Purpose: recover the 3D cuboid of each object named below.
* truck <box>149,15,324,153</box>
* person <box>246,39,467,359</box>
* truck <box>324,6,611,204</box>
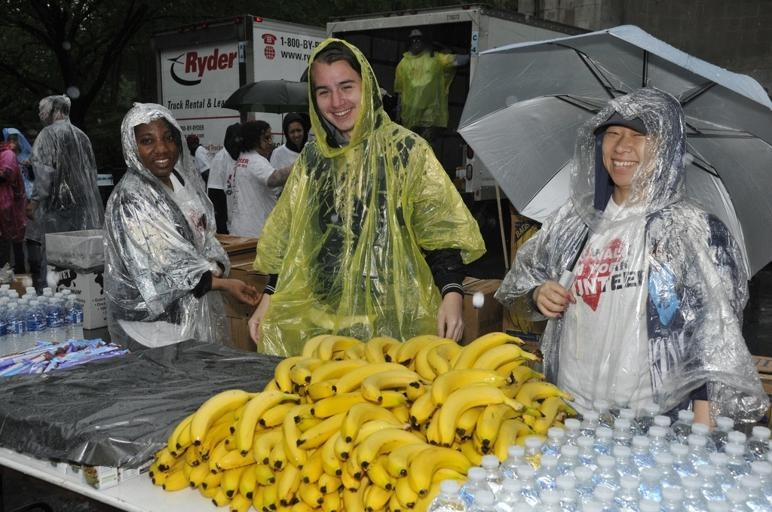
[{"bbox_3d":[-2.039,-3.052,10.920,1.675,2.045,3.016,12,18,40],"label":"truck"},{"bbox_3d":[-0.157,-0.341,3.693,1.347,1.856,0.388,-1,9,8],"label":"person"},{"bbox_3d":[1.225,-2.556,9.483,3.354,2.605,3.309,-17,26,-38],"label":"truck"}]
